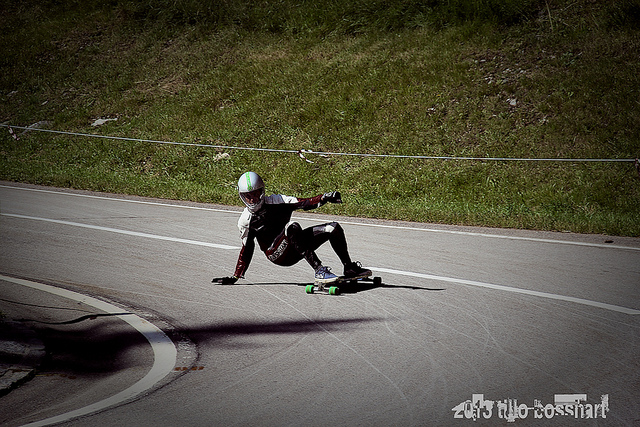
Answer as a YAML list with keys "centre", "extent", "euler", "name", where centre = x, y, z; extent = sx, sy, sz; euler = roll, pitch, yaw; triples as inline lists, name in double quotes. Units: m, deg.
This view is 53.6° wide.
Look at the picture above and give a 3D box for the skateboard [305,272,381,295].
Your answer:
- centre: [0.379, 1.184, 11.243]
  extent: [0.490, 1.299, 0.218]
  euler: [5, 98, 50]
  name: "skateboard"
